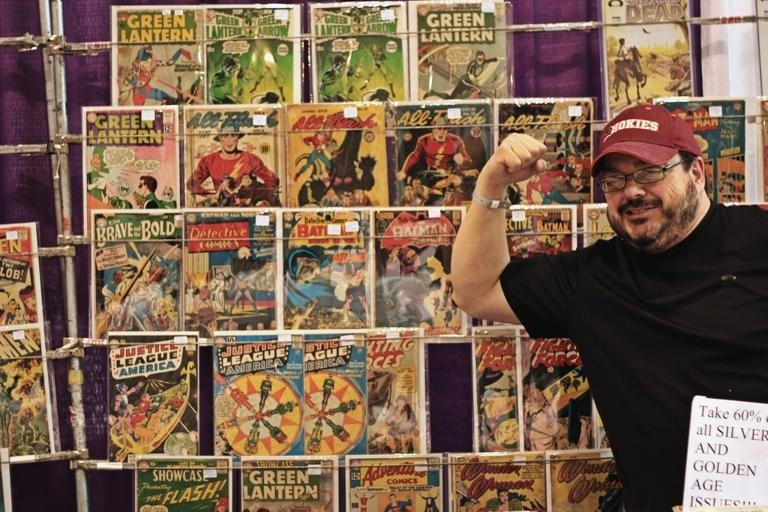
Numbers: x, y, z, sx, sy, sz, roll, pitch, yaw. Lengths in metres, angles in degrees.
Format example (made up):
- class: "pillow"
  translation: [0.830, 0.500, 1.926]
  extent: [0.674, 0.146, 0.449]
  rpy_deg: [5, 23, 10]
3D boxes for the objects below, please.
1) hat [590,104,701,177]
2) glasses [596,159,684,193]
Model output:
- class: "hat"
  translation: [0.948, -0.437, 4.946]
  extent: [0.339, 0.233, 0.476]
  rpy_deg: [-5, -3, 28]
- class: "glasses"
  translation: [0.939, -0.290, 4.850]
  extent: [0.293, 0.113, 0.079]
  rpy_deg: [-1, 3, 5]
